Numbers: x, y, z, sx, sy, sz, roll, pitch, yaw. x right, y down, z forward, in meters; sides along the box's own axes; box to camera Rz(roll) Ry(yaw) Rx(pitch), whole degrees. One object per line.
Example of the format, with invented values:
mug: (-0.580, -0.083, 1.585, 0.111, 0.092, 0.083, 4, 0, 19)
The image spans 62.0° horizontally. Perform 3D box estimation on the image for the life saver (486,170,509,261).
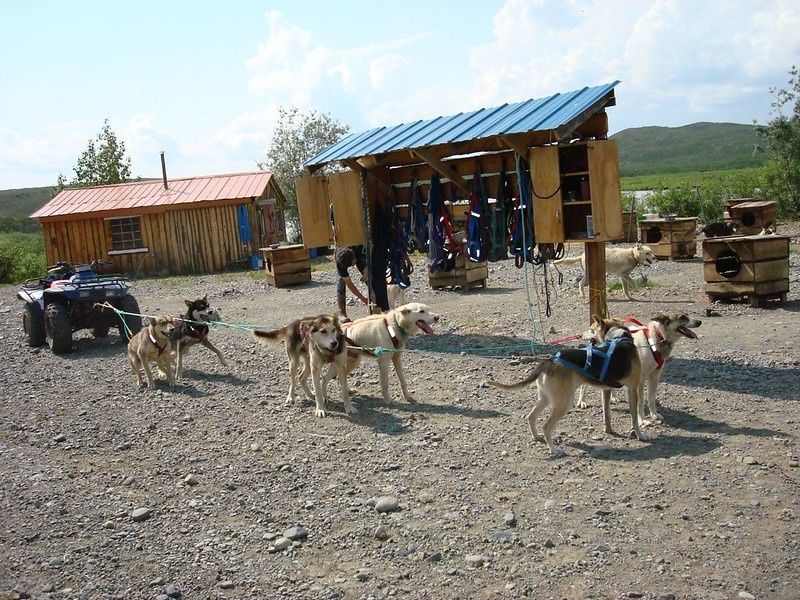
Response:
life saver: (1.592, -1.308, 10.413, 0.393, 1.396, 0.282, -3, 4, 14)

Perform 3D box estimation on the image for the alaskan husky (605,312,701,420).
alaskan husky: (2.891, 0.781, 8.405, 0.526, 1.345, 2.114, 4, -2, -22)

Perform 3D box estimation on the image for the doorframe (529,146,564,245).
doorframe: (2.137, -1.524, 9.686, 0.459, 1.371, 0.310, -2, 4, 22)

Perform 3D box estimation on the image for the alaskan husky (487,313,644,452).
alaskan husky: (2.103, 0.973, 7.490, 2.100, 1.384, 0.559, -5, 2, -24)

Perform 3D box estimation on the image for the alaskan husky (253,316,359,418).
alaskan husky: (-1.308, 0.816, 9.243, 0.636, 1.419, 2.240, -10, 9, -33)

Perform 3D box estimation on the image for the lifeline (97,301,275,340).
lifeline: (-4.044, 0.417, 12.595, 3.647, 0.458, 0.548, 3, 4, 16)

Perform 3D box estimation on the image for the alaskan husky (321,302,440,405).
alaskan husky: (-0.237, 0.716, 9.128, 1.626, 1.377, 0.576, 2, 2, 28)

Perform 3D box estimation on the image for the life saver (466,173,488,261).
life saver: (1.248, -1.251, 10.659, 0.362, 1.424, 0.384, -16, 19, -41)

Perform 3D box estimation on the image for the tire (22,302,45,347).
tire: (-7.170, 0.495, 13.110, 0.252, 0.840, 0.792, -4, 5, -24)

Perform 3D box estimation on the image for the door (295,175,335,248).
door: (-1.503, -1.583, 12.024, 0.575, 1.266, 0.117, -5, 4, 12)

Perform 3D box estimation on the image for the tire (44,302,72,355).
tire: (-6.323, 0.522, 12.399, 0.230, 0.823, 0.780, -15, 17, -26)

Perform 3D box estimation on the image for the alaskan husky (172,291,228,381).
alaskan husky: (-3.550, 0.696, 11.135, 0.520, 1.270, 1.837, -8, -1, -44)

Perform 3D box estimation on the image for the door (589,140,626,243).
door: (3.063, -1.659, 9.878, 0.530, 1.480, 0.784, -2, 12, 11)

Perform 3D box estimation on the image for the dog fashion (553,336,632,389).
dog fashion: (2.185, 0.731, 7.401, 1.099, 0.508, 0.245, -6, 4, -22)

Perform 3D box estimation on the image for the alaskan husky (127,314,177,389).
alaskan husky: (-3.851, 0.843, 10.402, 0.488, 1.129, 1.598, -7, -2, -41)

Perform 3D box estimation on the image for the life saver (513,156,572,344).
life saver: (2.178, -0.535, 10.473, 0.827, 3.341, 0.340, -2, 6, 36)

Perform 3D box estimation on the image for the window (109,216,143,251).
window: (-10.633, -2.642, 25.926, 1.217, 1.481, 0.102, -1, 11, -5)
